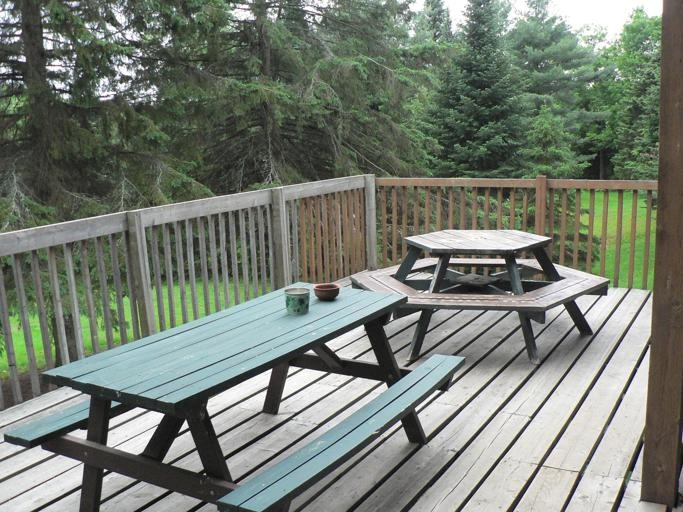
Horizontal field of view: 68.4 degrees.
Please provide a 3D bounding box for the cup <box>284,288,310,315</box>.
[{"bbox_3d":[-0.202,0.213,2.370,0.123,0.084,0.106,5,11,25],"label":"cup"}]

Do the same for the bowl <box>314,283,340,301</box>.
[{"bbox_3d":[-0.081,0.177,2.551,0.095,0.044,0.095,-1,9,0],"label":"bowl"}]
